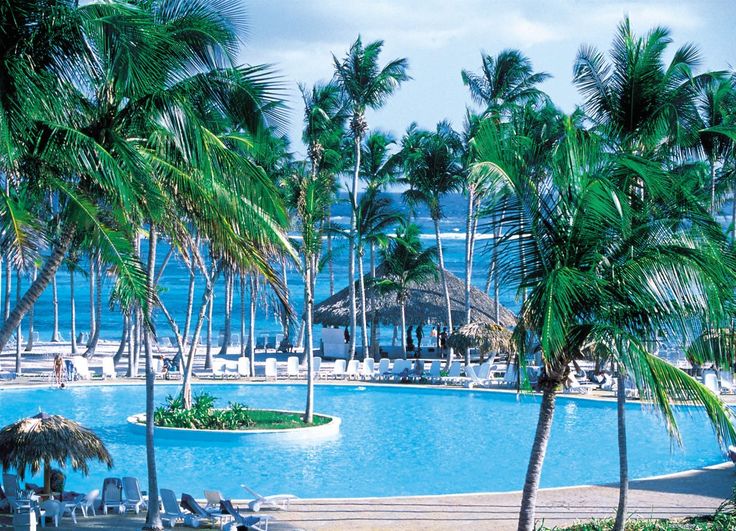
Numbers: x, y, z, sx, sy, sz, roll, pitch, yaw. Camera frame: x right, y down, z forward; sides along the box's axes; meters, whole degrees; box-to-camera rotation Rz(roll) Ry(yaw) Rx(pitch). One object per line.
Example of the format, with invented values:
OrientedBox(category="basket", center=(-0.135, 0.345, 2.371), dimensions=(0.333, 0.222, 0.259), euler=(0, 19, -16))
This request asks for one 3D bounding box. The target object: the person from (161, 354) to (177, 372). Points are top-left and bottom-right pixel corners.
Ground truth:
OrientedBox(category="person", center=(-7.538, 3.747, 37.857), dimensions=(0.642, 0.337, 0.725), euler=(-1, 4, 23))

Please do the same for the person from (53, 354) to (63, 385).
OrientedBox(category="person", center=(-10.643, 3.643, 34.554), dimensions=(0.291, 1.112, 1.498), euler=(4, -10, -17))
